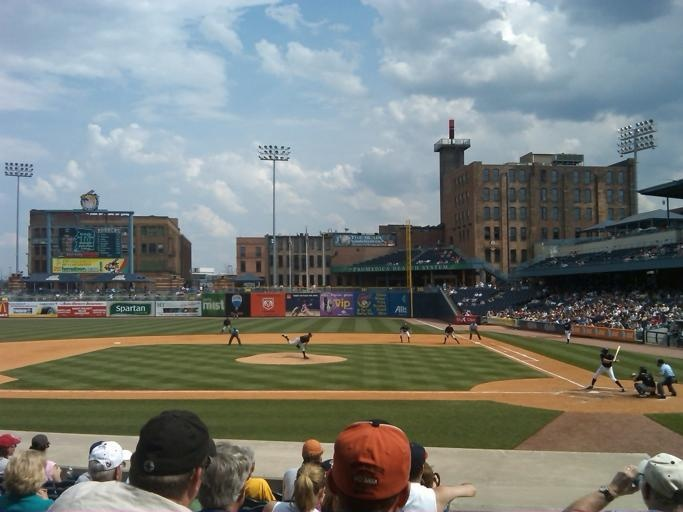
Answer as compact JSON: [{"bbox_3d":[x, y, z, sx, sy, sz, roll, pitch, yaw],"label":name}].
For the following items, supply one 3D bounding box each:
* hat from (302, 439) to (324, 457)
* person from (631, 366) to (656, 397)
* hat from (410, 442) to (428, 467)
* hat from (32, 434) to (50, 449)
[{"bbox_3d":[-1.223,8.366,41.372,0.746,0.803,0.838,3,14,0],"label":"hat"},{"bbox_3d":[17.345,7.173,54.162,1.248,1.659,0.776,-2,-3,16],"label":"person"},{"bbox_3d":[3.251,8.400,39.995,0.934,1.234,0.831,-3,30,3],"label":"hat"},{"bbox_3d":[-13.612,8.400,42.897,0.600,0.765,0.788,3,6,-2],"label":"hat"}]
